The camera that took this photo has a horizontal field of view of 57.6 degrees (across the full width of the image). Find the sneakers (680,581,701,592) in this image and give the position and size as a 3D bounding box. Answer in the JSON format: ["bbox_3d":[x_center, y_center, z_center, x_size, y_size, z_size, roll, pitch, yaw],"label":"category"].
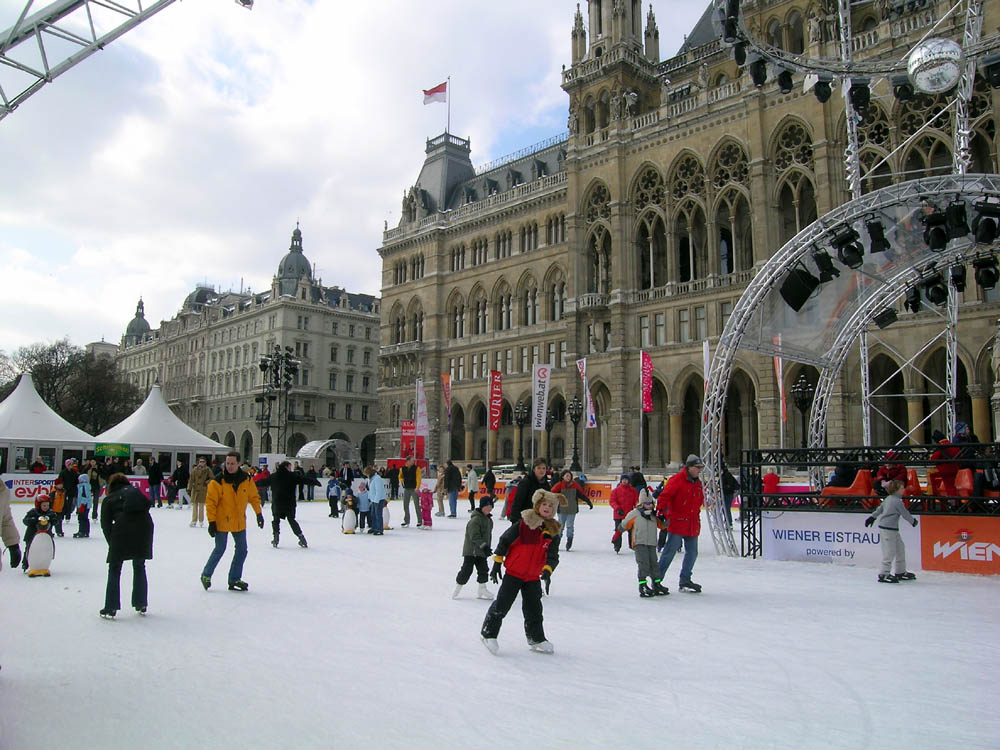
[{"bbox_3d":[3.340,3.726,15.984,0.341,0.256,0.176,-3,-1,9],"label":"sneakers"}]

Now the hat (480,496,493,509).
[{"bbox_3d":[-0.218,2.097,15.061,0.207,0.194,0.162,-22,4,-1],"label":"hat"}]

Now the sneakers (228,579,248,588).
[{"bbox_3d":[-4.544,3.663,15.891,0.338,0.208,0.138,-2,-2,5],"label":"sneakers"}]

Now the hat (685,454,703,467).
[{"bbox_3d":[3.414,1.514,16.186,0.229,0.202,0.235,-1,-7,31],"label":"hat"}]

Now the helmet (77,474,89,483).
[{"bbox_3d":[-11.072,2.744,24.176,0.202,0.289,0.272,8,-3,-20],"label":"helmet"}]

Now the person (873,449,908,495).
[{"bbox_3d":[8.035,1.991,18.758,0.615,1.516,0.501,-6,-22,28],"label":"person"}]

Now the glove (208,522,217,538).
[{"bbox_3d":[-4.865,2.616,15.437,0.144,0.213,0.061,-2,6,10],"label":"glove"}]

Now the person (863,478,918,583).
[{"bbox_3d":[7.328,2.919,17.101,0.799,1.879,1.347,-4,-8,22],"label":"person"}]

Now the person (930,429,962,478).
[{"bbox_3d":[9.222,1.730,18.852,0.528,0.875,2.083,-4,-9,26],"label":"person"}]

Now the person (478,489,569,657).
[{"bbox_3d":[0.293,2.744,12.909,1.089,2.216,0.917,-1,-7,3],"label":"person"}]

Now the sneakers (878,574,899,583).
[{"bbox_3d":[7.135,3.747,16.786,0.149,0.208,0.328,3,-7,-43],"label":"sneakers"}]

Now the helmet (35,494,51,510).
[{"bbox_3d":[-8.514,2.375,16.964,0.230,0.313,0.310,5,2,-29],"label":"helmet"}]

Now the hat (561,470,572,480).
[{"bbox_3d":[1.594,2.377,21.650,0.160,0.232,0.221,1,-4,-3],"label":"hat"}]

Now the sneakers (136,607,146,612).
[{"bbox_3d":[-5.504,3.621,13.999,0.113,0.124,0.164,2,-8,-20],"label":"sneakers"}]

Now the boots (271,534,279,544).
[{"bbox_3d":[-5.340,3.915,21.695,0.170,0.320,0.232,-3,1,7],"label":"boots"}]

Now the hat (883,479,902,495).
[{"bbox_3d":[7.191,2.048,16.670,0.213,0.293,0.284,8,-22,45],"label":"hat"}]

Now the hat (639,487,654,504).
[{"bbox_3d":[2.564,2.124,15.869,0.245,0.286,0.291,5,-28,-8],"label":"hat"}]

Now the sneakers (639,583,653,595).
[{"bbox_3d":[2.522,3.702,15.711,0.268,0.229,0.326,-2,-8,9],"label":"sneakers"}]

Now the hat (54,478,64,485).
[{"bbox_3d":[-10.379,2.526,21.490,0.187,0.133,0.265,-2,-9,15],"label":"hat"}]
